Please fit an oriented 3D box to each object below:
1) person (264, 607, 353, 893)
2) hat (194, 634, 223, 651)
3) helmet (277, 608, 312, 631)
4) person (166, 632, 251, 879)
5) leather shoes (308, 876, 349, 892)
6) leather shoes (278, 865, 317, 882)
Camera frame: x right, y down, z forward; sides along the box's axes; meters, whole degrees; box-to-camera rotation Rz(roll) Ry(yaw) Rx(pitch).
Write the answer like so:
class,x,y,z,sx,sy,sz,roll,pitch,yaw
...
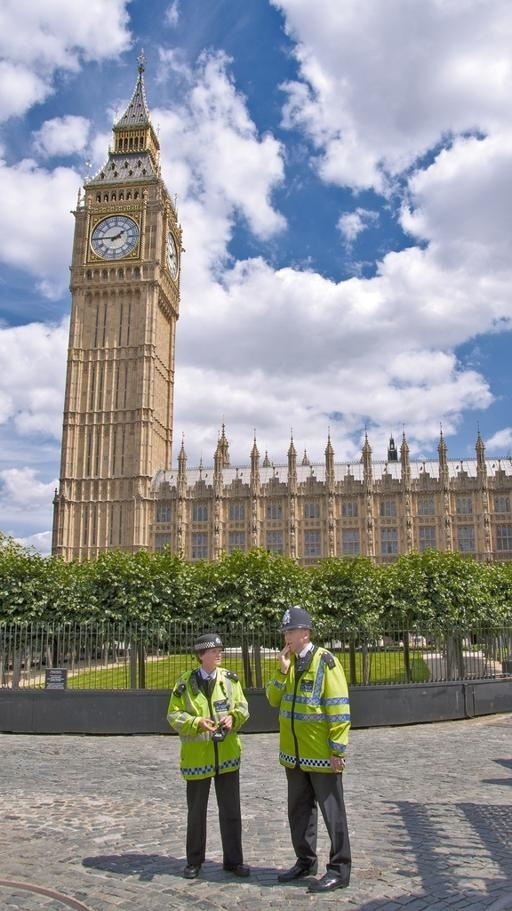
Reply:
class,x,y,z,sx,sy,sz,roll,pitch,yaw
person,0.449,2.271,5.804,0.555,2.098,0.720,3,-13,-17
hat,-0.404,1.560,6.136,0.164,0.104,0.175,-5,-18,6
helmet,0.350,1.318,5.944,0.174,0.147,0.216,-11,-21,38
person,-0.392,2.465,6.112,0.672,1.901,0.535,1,-12,-11
leather shoes,0.549,3.192,5.510,0.317,0.135,0.119,9,-20,-16
leather shoes,0.324,3.257,5.770,0.354,0.151,0.125,6,-18,-11
